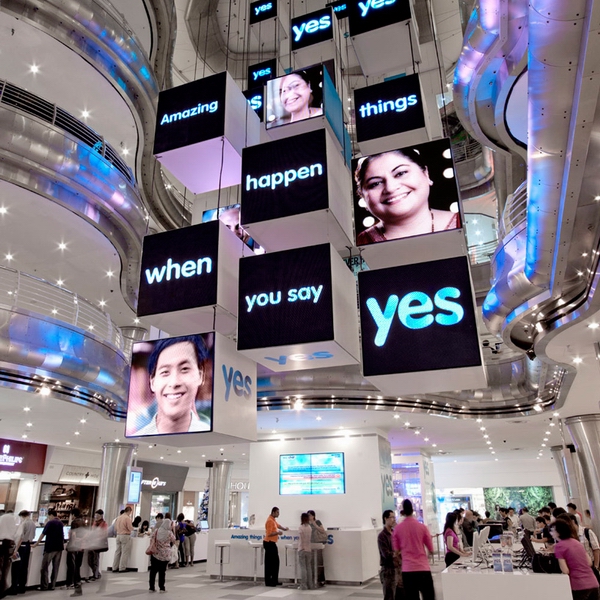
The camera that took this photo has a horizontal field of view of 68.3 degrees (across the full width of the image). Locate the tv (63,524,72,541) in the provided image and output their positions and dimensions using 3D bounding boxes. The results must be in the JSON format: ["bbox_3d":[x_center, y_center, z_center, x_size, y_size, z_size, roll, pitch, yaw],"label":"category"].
[{"bbox_3d":[-5.984,5.963,11.371,0.084,0.421,2.873,11,-32,-24],"label":"tv"}]

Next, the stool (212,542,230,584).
[{"bbox_3d":[-1.933,6.442,10.936,0.338,0.845,0.677,3,-27,-9],"label":"stool"}]

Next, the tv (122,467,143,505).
[{"bbox_3d":[-5.335,5.908,14.160,0.408,1.101,0.952,4,-27,-10],"label":"tv"}]
